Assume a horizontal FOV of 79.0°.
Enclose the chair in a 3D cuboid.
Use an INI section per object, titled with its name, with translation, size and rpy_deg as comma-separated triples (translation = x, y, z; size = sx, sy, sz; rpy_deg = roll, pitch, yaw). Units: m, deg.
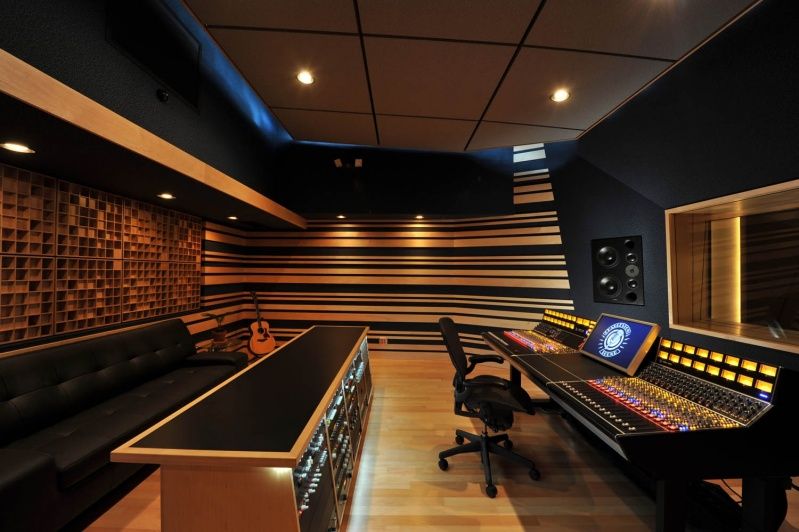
[chair]
translation = 0.827, 1.282, 4.684
size = 0.931, 1.556, 0.828
rpy_deg = 0, -3, 0
